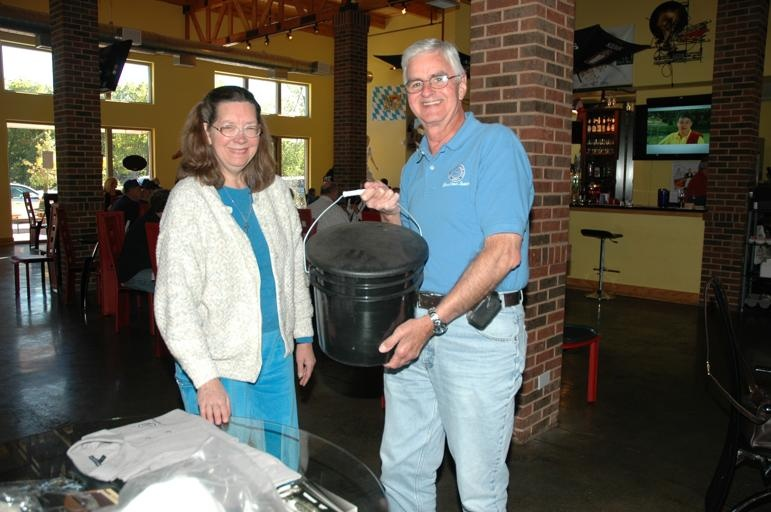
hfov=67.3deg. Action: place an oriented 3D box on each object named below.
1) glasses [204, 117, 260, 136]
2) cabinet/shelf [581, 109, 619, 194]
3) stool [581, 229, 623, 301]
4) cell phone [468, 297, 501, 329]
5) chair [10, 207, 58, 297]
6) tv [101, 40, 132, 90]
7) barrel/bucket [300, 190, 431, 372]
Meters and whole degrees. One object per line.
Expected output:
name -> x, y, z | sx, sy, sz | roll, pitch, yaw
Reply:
glasses -> -0.784, -0.655, 3.007 | 0.256, 0.080, 0.063 | -1, 9, -13
cabinet/shelf -> 4.759, -2.121, 12.831 | 0.599, 2.218, 0.363 | 4, 7, 29
stool -> 3.375, 0.098, 9.089 | 0.590, 1.034, 0.983 | 5, 9, 23
cell phone -> 0.501, 0.286, 2.842 | 0.176, 0.053, 0.129 | -35, 47, -4
chair -> -5.286, -0.076, 8.772 | 0.639, 1.292, 0.631 | 3, 3, 28
tv -> -4.702, -3.356, 10.104 | 0.489, 0.905, 0.684 | -3, 9, -25
barrel/bucket -> -0.090, 0.066, 2.926 | 0.590, 0.810, 0.575 | 3, 21, -1
